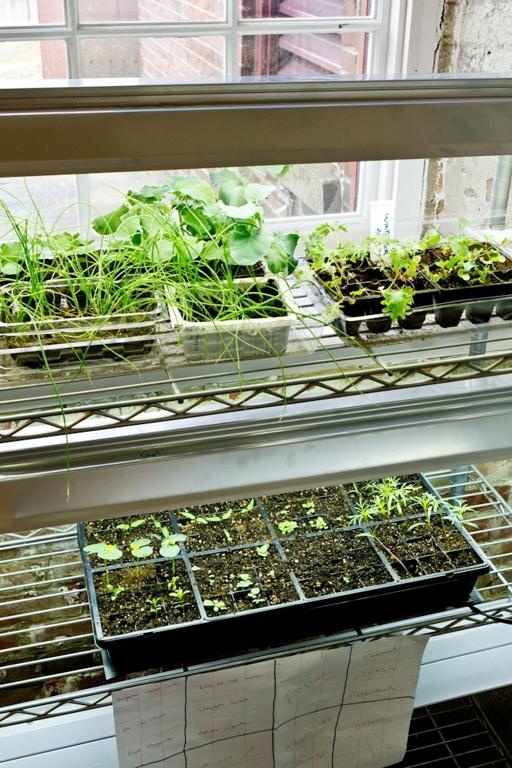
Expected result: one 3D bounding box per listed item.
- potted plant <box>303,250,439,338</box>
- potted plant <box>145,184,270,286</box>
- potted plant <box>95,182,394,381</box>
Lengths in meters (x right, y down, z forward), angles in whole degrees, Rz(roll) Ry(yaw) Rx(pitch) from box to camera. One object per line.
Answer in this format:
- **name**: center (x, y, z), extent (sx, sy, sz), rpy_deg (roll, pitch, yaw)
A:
- **potted plant**: center (0.143, -0.107, 0.722), extent (0.109, 0.050, 0.151), rpy_deg (-9, 41, -14)
- **potted plant**: center (-0.059, -0.145, 0.684), extent (0.127, 0.055, 0.128), rpy_deg (10, 45, -7)
- **potted plant**: center (-0.016, -0.110, 0.701), extent (0.277, 0.186, 0.212), rpy_deg (-15, 55, -19)
